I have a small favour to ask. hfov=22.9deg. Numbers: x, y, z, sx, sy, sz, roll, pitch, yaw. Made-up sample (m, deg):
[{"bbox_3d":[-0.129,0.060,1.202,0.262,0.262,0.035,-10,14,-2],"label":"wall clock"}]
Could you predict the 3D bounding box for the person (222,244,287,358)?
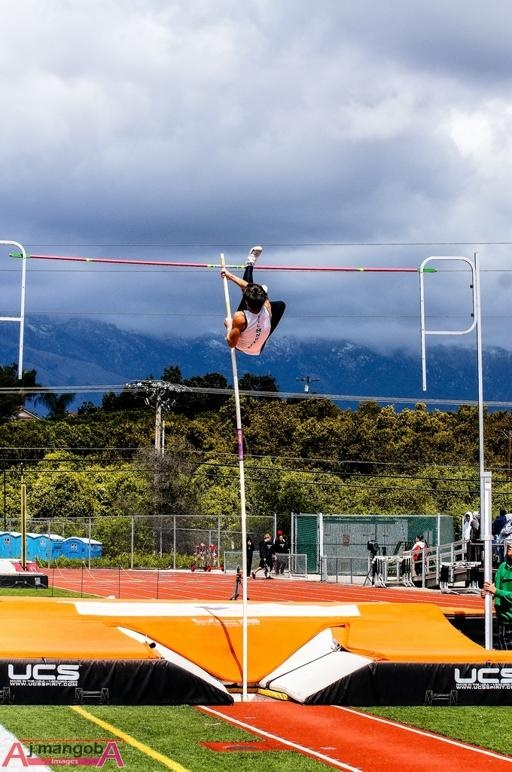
[{"bbox_3d":[-0.025,-0.849,11.672,0.574,1.007,0.822,1,-6,-1],"label":"person"}]
